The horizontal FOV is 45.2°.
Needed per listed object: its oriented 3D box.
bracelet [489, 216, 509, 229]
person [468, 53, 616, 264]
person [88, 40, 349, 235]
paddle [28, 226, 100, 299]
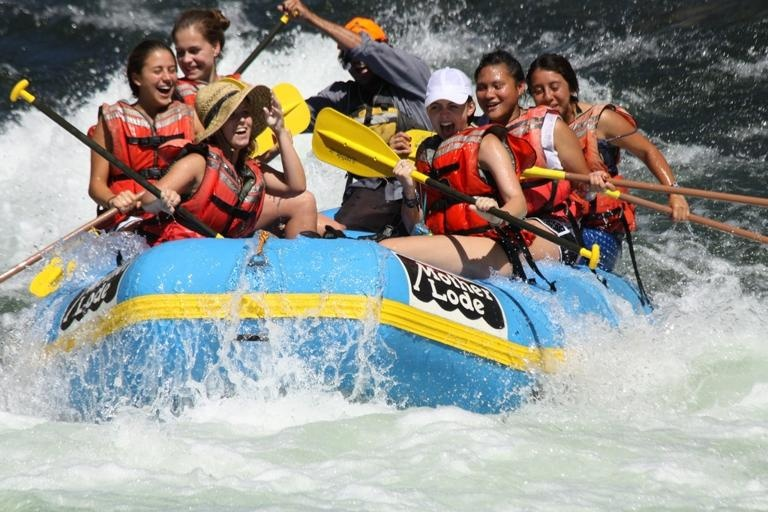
[{"bbox_3d":[0.787,-0.229,6.447,0.087,0.114,0.044,24,86,-1],"label":"bracelet"},{"bbox_3d":[1.150,-0.760,6.993,0.638,1.501,1.152,-37,23,-31],"label":"person"},{"bbox_3d":[-1.694,-0.942,6.852,1.394,0.865,1.644,-6,53,-27],"label":"person"},{"bbox_3d":[-2.238,0.018,6.572,0.230,0.109,0.761,38,38,-1],"label":"paddle"}]
